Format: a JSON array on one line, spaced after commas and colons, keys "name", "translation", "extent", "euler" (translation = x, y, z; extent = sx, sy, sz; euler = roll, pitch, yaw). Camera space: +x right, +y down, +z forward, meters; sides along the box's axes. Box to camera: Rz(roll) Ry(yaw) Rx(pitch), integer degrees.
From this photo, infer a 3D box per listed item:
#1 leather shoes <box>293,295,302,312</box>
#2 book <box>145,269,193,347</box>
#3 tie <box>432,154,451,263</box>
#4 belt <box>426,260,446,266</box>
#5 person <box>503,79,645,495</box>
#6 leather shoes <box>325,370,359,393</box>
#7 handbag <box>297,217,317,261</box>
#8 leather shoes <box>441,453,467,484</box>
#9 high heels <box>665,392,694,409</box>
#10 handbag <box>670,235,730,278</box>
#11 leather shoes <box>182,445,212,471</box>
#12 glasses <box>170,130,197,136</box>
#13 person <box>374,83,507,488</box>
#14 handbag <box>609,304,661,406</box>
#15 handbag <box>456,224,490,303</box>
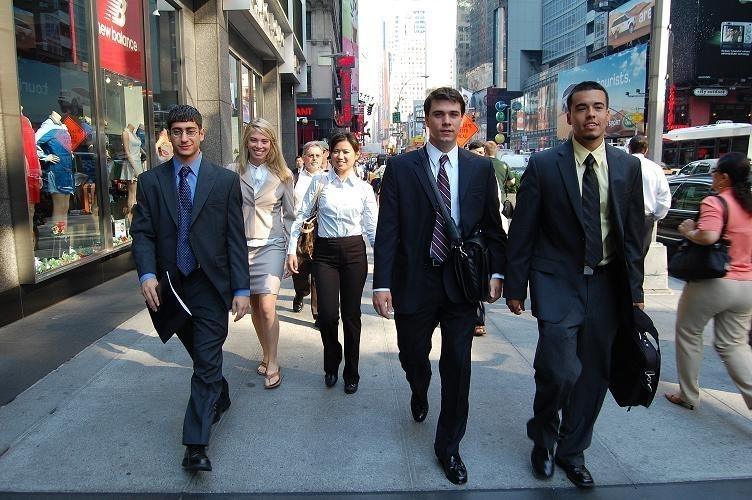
[{"name": "leather shoes", "translation": [-1.225, 0.860, 7.955], "extent": [0.103, 0.325, 0.214], "euler": [1, 14, -4]}, {"name": "book", "translation": [-1.621, 0.433, 3.920], "extent": [0.461, 0.495, 0.116], "euler": [-33, -6, 30]}, {"name": "tie", "translation": [0.529, -0.320, 3.925], "extent": [0.145, 0.840, 0.235], "euler": [3, 11, 11]}, {"name": "belt", "translation": [0.489, 0.105, 3.901], "extent": [0.114, 0.056, 0.024], "euler": [1, 11, 3]}, {"name": "person", "translation": [1.541, 0.242, 3.858], "extent": [1.005, 3.010, 0.690], "euler": [4, 11, 19]}, {"name": "leather shoes", "translation": [-0.343, 1.417, 5.363], "extent": [0.145, 0.280, 0.429], "euler": [5, -6, -42]}, {"name": "handbag", "translation": [-0.810, -0.153, 5.952], "extent": [0.172, 0.408, 0.381], "euler": [7, -19, -10]}, {"name": "leather shoes", "translation": [0.612, 1.706, 3.888], "extent": [0.097, 0.113, 0.256], "euler": [-2, 6, -20]}, {"name": "high heels", "translation": [3.040, 1.486, 4.950], "extent": [0.070, 0.093, 0.206], "euler": [-10, 22, -31]}, {"name": "handbag", "translation": [3.042, 0.069, 4.610], "extent": [0.366, 0.373, 0.148], "euler": [5, 2, 44]}, {"name": "leather shoes", "translation": [-1.403, 1.616, 3.908], "extent": [0.126, 0.163, 0.348], "euler": [7, -9, -28]}, {"name": "glasses", "translation": [-1.550, -0.947, 4.047], "extent": [0.191, 0.053, 0.051], "euler": [-4, 12, -21]}, {"name": "person", "translation": [0.501, 0.226, 3.987], "extent": [0.978, 2.963, 0.630], "euler": [6, 12, 26]}, {"name": "handbag", "translation": [1.998, 0.827, 3.842], "extent": [0.238, 0.705, 0.530], "euler": [-3, -15, 10]}, {"name": "handbag", "translation": [0.746, 0.125, 3.821], "extent": [0.257, 0.527, 0.509], "euler": [-6, 8, 5]}]
